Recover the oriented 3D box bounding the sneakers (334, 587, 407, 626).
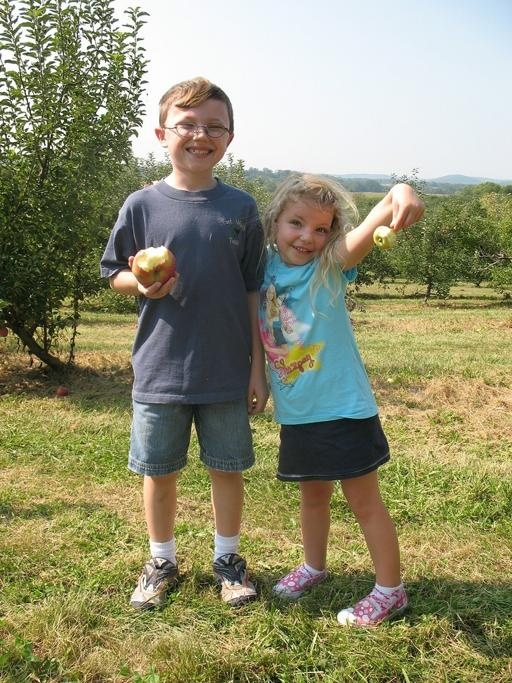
[{"bbox_3d":[0.471,1.043,2.359,0.304,0.106,0.106,-12,6,-26],"label":"sneakers"}]

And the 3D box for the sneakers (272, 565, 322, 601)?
[{"bbox_3d":[0.188,1.041,2.575,0.239,0.084,0.087,-5,6,-43],"label":"sneakers"}]

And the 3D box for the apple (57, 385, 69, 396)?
[{"bbox_3d":[-2.256,0.591,6.824,0.098,0.071,0.105,-4,-2,4],"label":"apple"}]

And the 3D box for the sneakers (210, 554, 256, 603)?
[{"bbox_3d":[-0.093,1.010,2.515,0.119,0.098,0.228,-1,1,-12],"label":"sneakers"}]

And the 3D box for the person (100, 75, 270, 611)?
[{"bbox_3d":[-0.265,0.019,2.476,0.638,2.183,0.474,-1,7,-23],"label":"person"}]

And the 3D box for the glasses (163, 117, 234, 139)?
[{"bbox_3d":[-0.246,-0.855,2.402,0.274,0.083,0.166,0,6,-10],"label":"glasses"}]

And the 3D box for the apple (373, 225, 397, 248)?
[{"bbox_3d":[0.450,-0.365,2.057,0.085,0.083,0.081,6,8,42],"label":"apple"}]

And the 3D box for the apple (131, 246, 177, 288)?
[{"bbox_3d":[-0.372,-0.270,2.218,0.160,0.144,0.151,-5,30,-3],"label":"apple"}]

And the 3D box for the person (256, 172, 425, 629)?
[{"bbox_3d":[0.299,0.222,2.381,0.701,1.778,0.368,4,7,23],"label":"person"}]

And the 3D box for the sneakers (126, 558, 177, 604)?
[{"bbox_3d":[-0.437,1.010,2.490,0.091,0.103,0.241,9,2,13],"label":"sneakers"}]
